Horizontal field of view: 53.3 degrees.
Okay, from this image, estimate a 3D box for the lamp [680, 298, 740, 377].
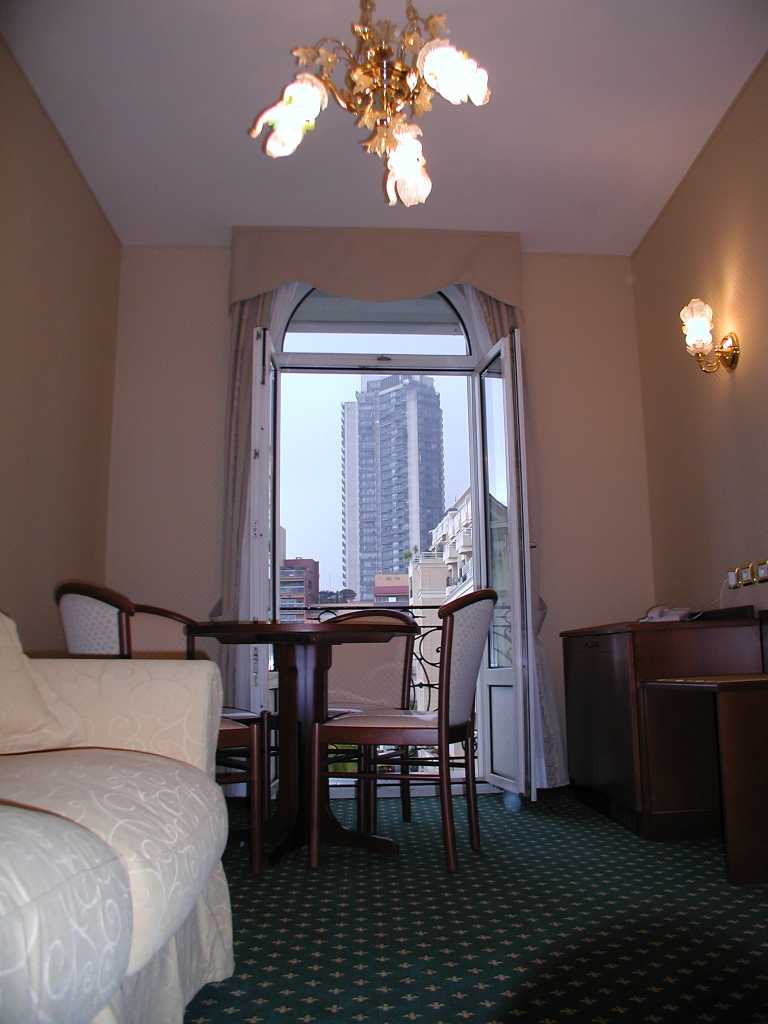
[{"bbox_3d":[1.452,-0.776,3.471,0.204,0.334,0.251,-2,-12,5],"label":"lamp"}]
